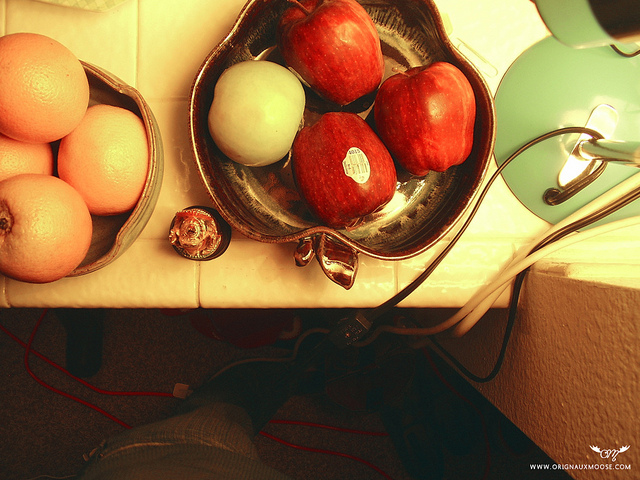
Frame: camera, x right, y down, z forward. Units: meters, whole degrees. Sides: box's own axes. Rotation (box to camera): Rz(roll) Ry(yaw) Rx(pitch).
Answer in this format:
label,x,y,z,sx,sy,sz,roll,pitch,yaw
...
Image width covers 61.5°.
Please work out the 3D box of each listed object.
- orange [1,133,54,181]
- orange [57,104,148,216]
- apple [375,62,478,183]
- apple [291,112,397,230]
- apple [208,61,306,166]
label,x,y,z,sx,sy,sz,roll,pitch,yaw
orange,-0.414,-0.116,0.760,0.053,0.059,0.079,0,94,3
orange,-0.293,-0.108,0.800,0.126,0.129,0.182,9,94,27
apple,0.162,-0.199,0.824,0.139,0.154,0.185,-19,112,-9
apple,0.031,-0.099,0.823,0.128,0.134,0.168,0,66,-26
apple,-0.091,-0.186,0.775,0.128,0.054,0.146,14,82,-2
